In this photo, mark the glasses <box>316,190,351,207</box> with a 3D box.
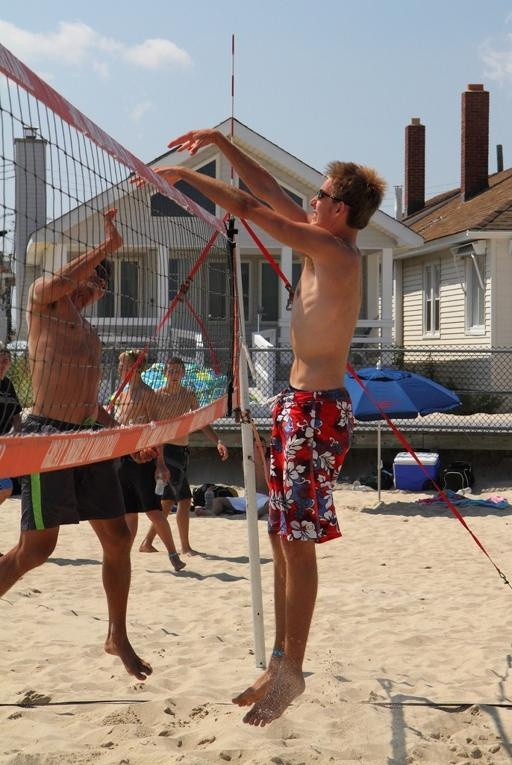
[{"bbox_3d":[0.296,-0.726,3.281,0.087,0.024,0.082,15,4,-5],"label":"glasses"}]

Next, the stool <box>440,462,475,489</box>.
[{"bbox_3d":[2.669,1.262,10.967,0.333,0.402,0.396,-3,-21,29],"label":"stool"}]

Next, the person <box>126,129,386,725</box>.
[{"bbox_3d":[0.124,0.199,3.289,0.818,2.575,0.847,1,-1,-16],"label":"person"}]

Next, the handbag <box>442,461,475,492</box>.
[{"bbox_3d":[2.678,1.230,10.938,0.335,0.380,0.415,-2,11,20],"label":"handbag"}]
